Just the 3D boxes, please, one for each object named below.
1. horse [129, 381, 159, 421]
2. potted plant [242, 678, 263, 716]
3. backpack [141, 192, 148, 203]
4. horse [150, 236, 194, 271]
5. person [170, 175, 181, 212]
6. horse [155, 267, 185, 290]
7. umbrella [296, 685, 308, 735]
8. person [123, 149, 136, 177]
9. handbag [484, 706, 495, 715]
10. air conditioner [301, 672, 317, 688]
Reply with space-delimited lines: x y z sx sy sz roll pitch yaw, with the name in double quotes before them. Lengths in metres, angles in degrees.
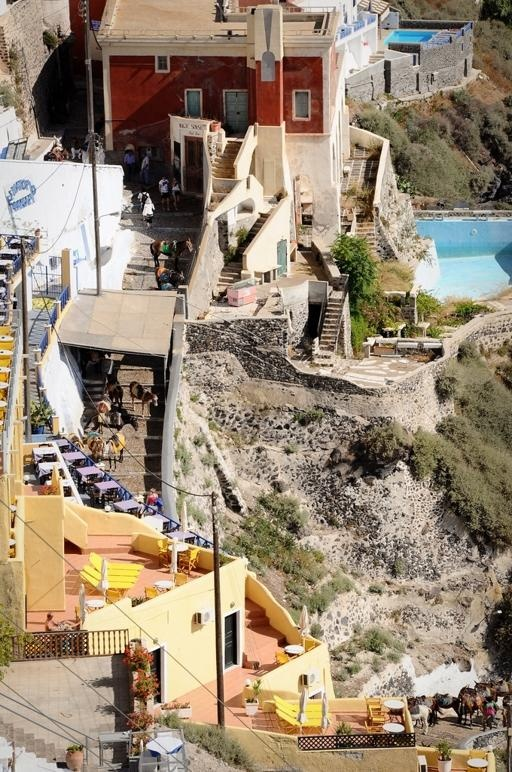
"horse" -3.449 0.503 34.869 0.317 0.953 1.371 -13 37 -26
"potted plant" -0.067 6.206 22.669 0.351 0.501 0.579 -3 21 -1
"backpack" -4.126 -7.031 42.454 0.156 0.390 0.264 0 0 -42
"horse" -2.975 -4.794 40.487 1.414 1.167 1.960 -4 22 -2
"person" -3.167 -7.503 44.314 0.359 1.040 1.397 -5 22 -4
"horse" -2.940 -3.623 38.565 0.885 0.786 1.652 -3 22 1
"umbrella" 0.891 6.261 22.400 0.226 1.047 0.517 -2 21 3
"person" -5.113 -9.083 46.241 0.497 1.236 1.254 -5 21 -5
"handbag" 6.886 9.570 33.662 0.209 0.213 0.274 44 28 17
"air conditioner" 1.078 6.019 23.565 0.233 0.315 0.442 -1 2 30
